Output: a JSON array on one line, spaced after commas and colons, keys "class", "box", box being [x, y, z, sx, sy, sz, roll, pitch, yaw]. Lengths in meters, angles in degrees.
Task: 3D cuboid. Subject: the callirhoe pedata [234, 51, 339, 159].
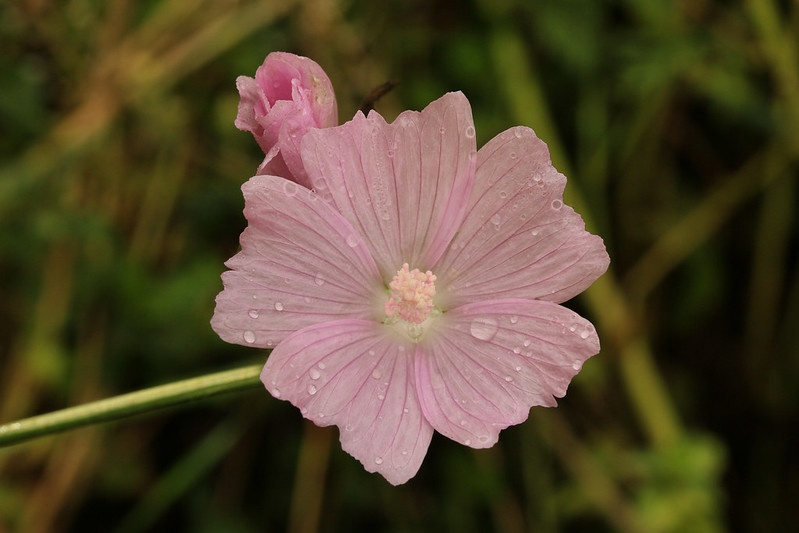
[{"class": "callirhoe pedata", "box": [-0.430, -0.605, 2.811, 0.369, 0.183, 0.304, -23, 79, -1]}]
